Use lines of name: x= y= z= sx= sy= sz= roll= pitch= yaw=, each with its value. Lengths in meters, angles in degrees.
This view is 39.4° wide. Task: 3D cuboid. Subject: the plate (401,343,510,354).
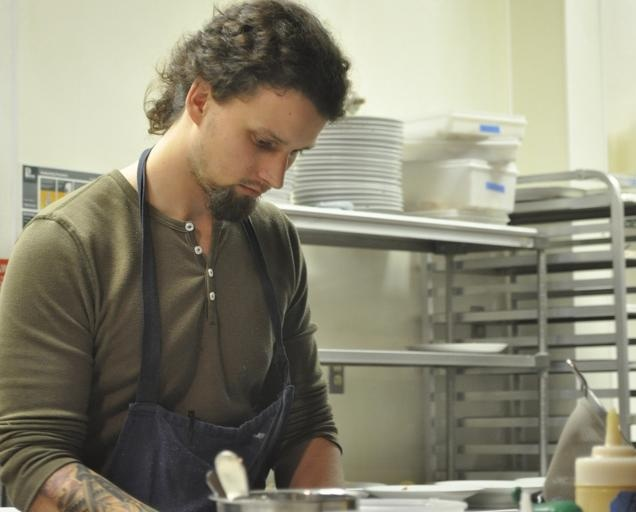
plate: x=0.515 y=0.354 z=3.288 sx=0.354 sy=0.041 sz=0.190 roll=-3 pitch=-7 yaw=6

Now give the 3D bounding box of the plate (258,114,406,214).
plate: x=0.123 y=-0.317 z=3.102 sx=0.350 sy=0.243 sz=0.378 roll=2 pitch=-4 yaw=-14

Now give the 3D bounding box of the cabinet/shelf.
cabinet/shelf: x=0.333 y=0.349 z=3.121 sx=1.042 sy=0.904 sz=0.366 roll=4 pitch=-6 yaw=-38
